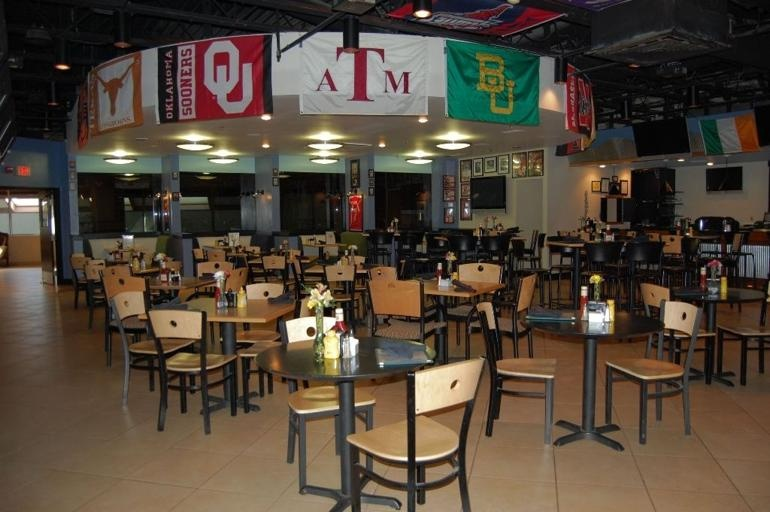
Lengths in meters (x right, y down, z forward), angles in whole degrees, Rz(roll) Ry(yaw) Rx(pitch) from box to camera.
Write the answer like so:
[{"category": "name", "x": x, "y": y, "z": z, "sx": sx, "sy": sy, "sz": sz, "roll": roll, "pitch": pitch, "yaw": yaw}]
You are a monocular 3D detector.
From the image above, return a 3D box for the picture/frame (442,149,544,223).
[{"category": "picture/frame", "x": 3.124, "y": -1.877, "z": 16.951, "sx": 0.626, "sy": 1.815, "sz": 2.951, "roll": -6, "pitch": 6, "yaw": -30}]

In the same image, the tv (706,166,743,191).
[{"category": "tv", "x": 9.948, "y": -2.214, "z": 17.718, "sx": 0.110, "sy": 0.530, "sz": 0.790, "roll": -4, "pitch": 6, "yaw": -44}]

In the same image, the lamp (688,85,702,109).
[{"category": "lamp", "x": 6.925, "y": -3.502, "z": 13.601, "sx": 0.188, "sy": 0.512, "sz": 0.360, "roll": 1, "pitch": 6, "yaw": 29}]

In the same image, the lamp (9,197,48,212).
[{"category": "lamp", "x": -11.564, "y": -1.612, "z": 19.613, "sx": 0.886, "sy": 0.226, "sz": 0.991, "roll": 0, "pitch": 0, "yaw": 17}]

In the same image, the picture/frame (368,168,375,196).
[{"category": "picture/frame", "x": -0.354, "y": -1.985, "z": 16.837, "sx": 0.130, "sy": 0.715, "sz": 0.447, "roll": -1, "pitch": 5, "yaw": 11}]

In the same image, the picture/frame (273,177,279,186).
[{"category": "picture/frame", "x": -2.967, "y": -1.972, "z": 16.473, "sx": 0.240, "sy": 0.221, "sz": 0.052, "roll": 1, "pitch": 1, "yaw": -15}]

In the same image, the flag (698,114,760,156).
[{"category": "flag", "x": 7.608, "y": -2.631, "z": 13.439, "sx": 1.343, "sy": 0.924, "sz": 0.100, "roll": 0, "pitch": 18, "yaw": 45}]

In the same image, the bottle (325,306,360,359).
[{"category": "bottle", "x": -0.406, "y": 0.698, "z": 5.567, "sx": 0.325, "sy": 0.427, "sz": 0.385, "roll": -2, "pitch": 5, "yaw": -3}]

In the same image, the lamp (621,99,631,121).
[{"category": "lamp", "x": 5.956, "y": -3.552, "z": 14.969, "sx": 0.187, "sy": 0.434, "sz": 0.419, "roll": 0, "pitch": 5, "yaw": 24}]

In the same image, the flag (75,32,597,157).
[{"category": "flag", "x": -1.022, "y": -2.988, "z": 12.153, "sx": 9.440, "sy": 1.645, "sz": 4.432, "roll": -1, "pitch": 4, "yaw": 10}]

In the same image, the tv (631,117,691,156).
[{"category": "tv", "x": 6.476, "y": -2.720, "z": 14.185, "sx": 0.182, "sy": 0.886, "sz": 1.287, "roll": -22, "pitch": 14, "yaw": -38}]
